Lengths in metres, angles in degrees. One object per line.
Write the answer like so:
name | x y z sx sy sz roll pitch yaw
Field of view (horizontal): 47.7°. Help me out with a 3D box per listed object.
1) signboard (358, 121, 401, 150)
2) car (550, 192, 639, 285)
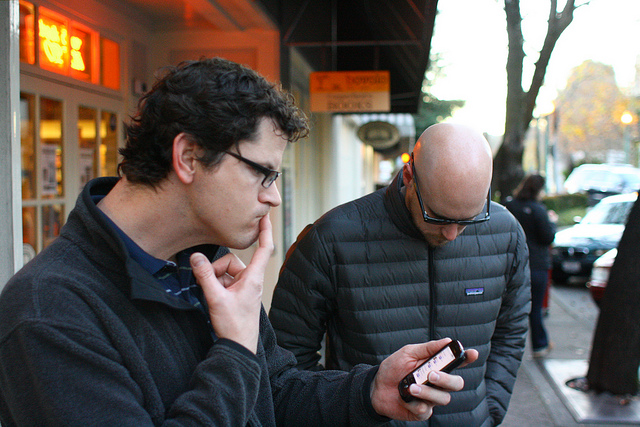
signboard | 0.883 -1.188 10.850 0.600 0.391 0.258 -2 5 5
car | 4.776 0.463 12.854 1.278 1.235 3.234 -4 -5 39
